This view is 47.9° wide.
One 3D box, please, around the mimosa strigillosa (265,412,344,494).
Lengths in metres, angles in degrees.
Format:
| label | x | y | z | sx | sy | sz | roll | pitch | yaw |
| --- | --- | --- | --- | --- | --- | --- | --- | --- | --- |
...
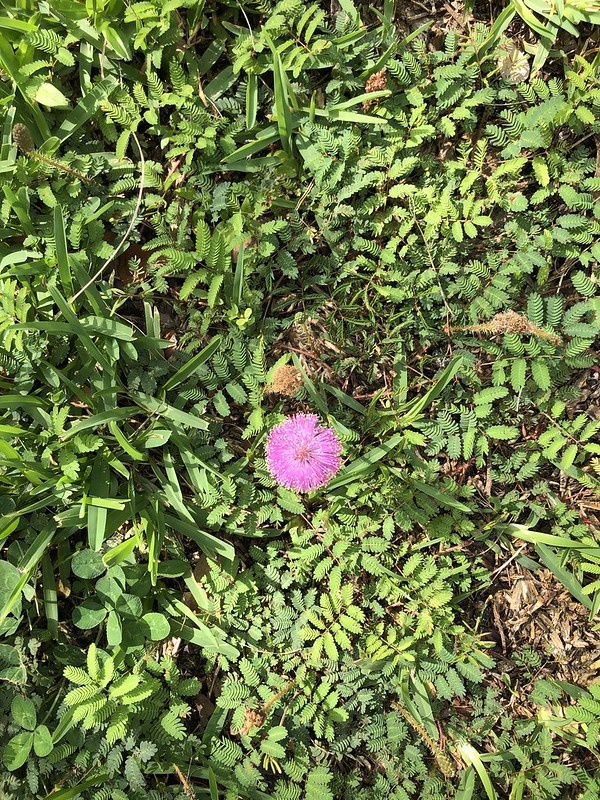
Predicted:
| label | x | y | z | sx | sy | sz | roll | pitch | yaw |
| --- | --- | --- | --- | --- | --- | --- | --- | --- | --- |
| mimosa strigillosa | 0.010 | 0.167 | 2.095 | 0.225 | 0.074 | 0.226 | -35 | 85 | -2 |
